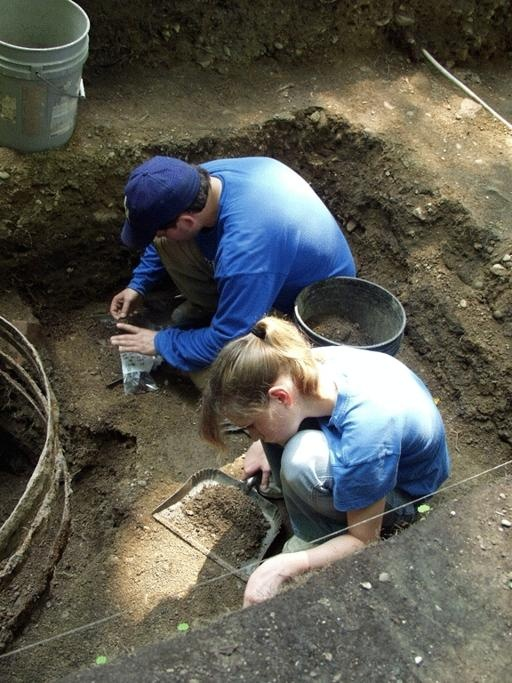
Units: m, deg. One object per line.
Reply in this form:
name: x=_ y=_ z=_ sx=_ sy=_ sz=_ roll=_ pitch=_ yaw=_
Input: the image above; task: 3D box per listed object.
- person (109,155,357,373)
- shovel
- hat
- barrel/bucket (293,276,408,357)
person: x=-0.130 y=-0.317 z=2.800 sx=0.910 sy=0.792 sz=0.648 roll=-28 pitch=57 yaw=0
shovel: x=-0.126 y=0.696 z=2.611 sx=0.502 sy=0.061 sz=0.333 roll=25 pitch=72 yaw=31
hat: x=-0.384 y=-0.542 z=2.662 sx=0.287 sy=0.375 sz=0.228 roll=7 pitch=38 yaw=-12
barrel/bucket: x=0.364 y=-0.099 z=2.924 sx=0.359 sy=0.210 sz=0.351 roll=0 pitch=64 yaw=0
